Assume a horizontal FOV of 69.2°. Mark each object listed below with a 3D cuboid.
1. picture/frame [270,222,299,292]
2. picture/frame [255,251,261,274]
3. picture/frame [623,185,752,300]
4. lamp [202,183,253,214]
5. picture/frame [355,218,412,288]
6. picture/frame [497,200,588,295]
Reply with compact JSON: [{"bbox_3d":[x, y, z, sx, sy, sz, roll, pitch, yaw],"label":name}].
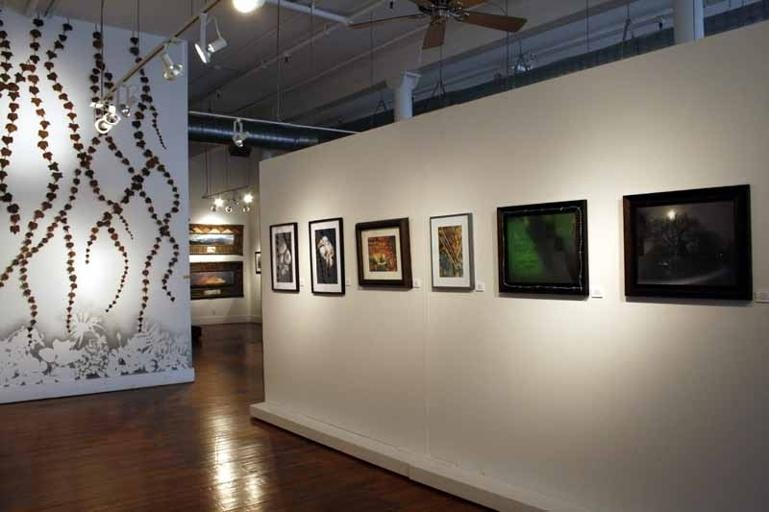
[{"bbox_3d":[-1.522,0.027,8.592,0.052,1.492,1.023,-3,3,-37],"label":"picture/frame"},{"bbox_3d":[-4.312,0.246,19.031,0.094,1.008,0.817,1,-1,-23],"label":"picture/frame"},{"bbox_3d":[2.884,-0.114,5.205,1.032,1.112,0.083,-1,1,36],"label":"picture/frame"},{"bbox_3d":[-5.634,-2.035,20.399,1.692,1.006,1.077,-4,5,-29],"label":"lamp"},{"bbox_3d":[0.024,-0.025,7.247,0.850,0.915,0.112,-2,1,44],"label":"picture/frame"},{"bbox_3d":[1.730,-0.079,5.943,0.958,1.036,0.076,-1,-2,38],"label":"picture/frame"}]
